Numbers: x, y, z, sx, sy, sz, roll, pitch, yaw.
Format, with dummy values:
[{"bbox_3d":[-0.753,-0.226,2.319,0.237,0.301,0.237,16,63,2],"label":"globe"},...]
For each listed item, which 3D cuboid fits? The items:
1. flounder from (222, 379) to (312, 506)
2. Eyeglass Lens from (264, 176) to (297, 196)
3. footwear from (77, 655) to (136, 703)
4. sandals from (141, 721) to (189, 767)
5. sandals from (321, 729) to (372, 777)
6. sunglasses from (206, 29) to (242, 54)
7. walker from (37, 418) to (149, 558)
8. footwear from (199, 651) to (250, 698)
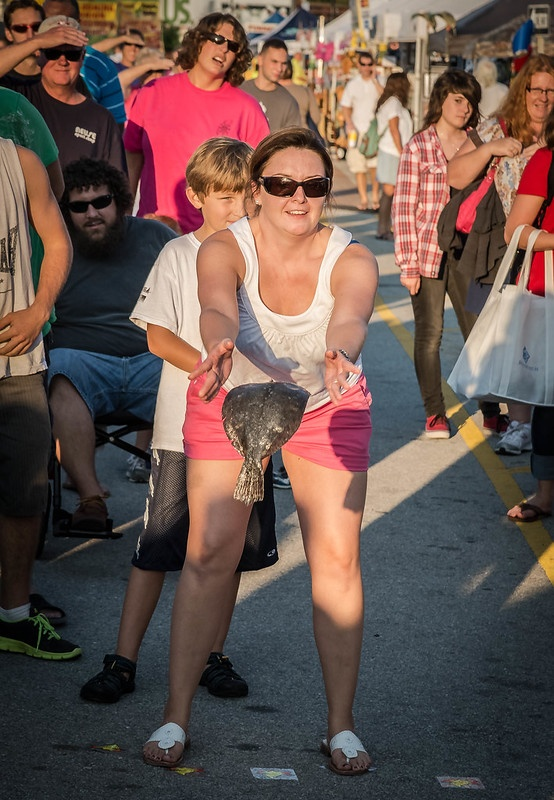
[{"bbox_3d":[-0.023,0.082,1.430,0.151,0.242,0.035,4,-40,21],"label":"flounder"},{"bbox_3d":[0.002,-0.508,1.776,0.097,0.042,0.033,3,1,38],"label":"Eyeglass Lens"},{"bbox_3d":[-0.509,0.855,2.343,0.115,0.107,0.188,7,-1,28],"label":"footwear"},{"bbox_3d":[-0.284,0.848,1.832,0.078,0.055,0.139,0,1,6],"label":"sandals"},{"bbox_3d":[0.175,0.885,1.858,0.074,0.059,0.146,-2,1,-14],"label":"sandals"},{"bbox_3d":[-0.347,-2.356,4.909,0.244,0.089,0.094,1,1,-35],"label":"sunglasses"},{"bbox_3d":[-1.003,0.453,3.854,0.475,0.685,0.798,6,-23,-17],"label":"walker"},{"bbox_3d":[-0.176,0.894,2.462,0.102,0.099,0.249,4,-7,-28],"label":"footwear"}]
